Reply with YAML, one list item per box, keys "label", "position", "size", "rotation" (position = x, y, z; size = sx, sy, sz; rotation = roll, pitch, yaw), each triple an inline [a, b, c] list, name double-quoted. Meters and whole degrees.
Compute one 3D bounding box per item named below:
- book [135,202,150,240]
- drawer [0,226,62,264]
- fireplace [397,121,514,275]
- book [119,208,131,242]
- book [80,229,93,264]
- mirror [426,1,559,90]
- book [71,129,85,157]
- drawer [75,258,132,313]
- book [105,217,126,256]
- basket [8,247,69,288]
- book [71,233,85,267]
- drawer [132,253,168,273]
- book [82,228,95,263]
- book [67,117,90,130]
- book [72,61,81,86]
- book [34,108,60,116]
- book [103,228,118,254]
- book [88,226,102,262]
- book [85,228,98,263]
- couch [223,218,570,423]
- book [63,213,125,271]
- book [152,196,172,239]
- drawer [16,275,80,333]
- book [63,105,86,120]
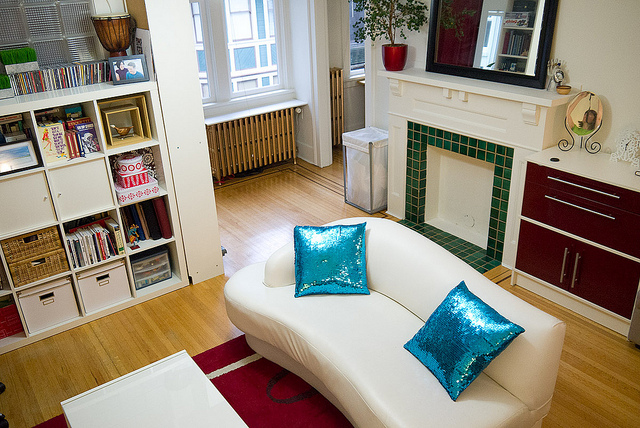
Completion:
- label: "book"
  position: [-1.737, 0.052, 4.208]
  size: [0.032, 0.301, 0.220]
  rotation: [-21, 57, -14]
- label: "drawer"
  position: [-2.514, 0.271, 3.744]
  size: [0.410, 0.239, 0.291]
  rotation: [-21, 31, -35]
- label: "fireplace"
  position: [1.489, -0.242, 4.808]
  size: [0.440, 1.312, 1.329]
  rotation: [-21, 31, -30]
- label: "book"
  position: [-1.873, 0.118, 4.170]
  size: [0.047, 0.360, 0.050]
  rotation: [-20, 6, -24]
- label: "book"
  position: [-2.112, 0.316, 3.948]
  size: [0.044, 0.196, 0.190]
  rotation: [-13, -3, -19]
- label: "mirror"
  position: [1.716, -1.642, 4.184]
  size: [1.046, 1.097, 0.074]
  rotation: [7, 27, 34]
- label: "book"
  position: [-2.131, -0.631, 3.788]
  size: [0.031, 0.211, 0.153]
  rotation: [-19, 47, -29]
- label: "drawer"
  position: [-2.192, 0.674, 4.242]
  size: [0.480, 0.413, 0.467]
  rotation: [-15, 19, -32]
- label: "book"
  position: [-1.909, 0.219, 4.066]
  size: [0.064, 0.275, 0.268]
  rotation: [-17, -1, -20]
- label: "basket"
  position: [-2.516, 0.417, 3.960]
  size: [0.488, 0.210, 0.357]
  rotation: [-17, 21, -5]
- label: "book"
  position: [-2.190, 0.333, 3.945]
  size: [0.051, 0.222, 0.217]
  rotation: [-11, 34, -17]
- label: "drawer"
  position: [-1.698, 0.488, 4.309]
  size: [0.208, 0.049, 0.190]
  rotation: [-19, 29, -35]
- label: "book"
  position: [-2.098, 0.312, 3.966]
  size: [0.046, 0.204, 0.193]
  rotation: [-15, 2, -19]
- label: "book"
  position: [-2.139, -0.815, 3.816]
  size: [0.116, 0.029, 0.116]
  rotation: [-23, 40, -32]
- label: "book"
  position: [-2.142, -1.237, 3.828]
  size: [0.046, 0.167, 0.122]
  rotation: [-14, 31, -24]
- label: "book"
  position: [-2.430, -0.901, 3.825]
  size: [0.113, 0.027, 0.104]
  rotation: [-18, 35, -32]
- label: "book"
  position: [-1.950, 0.249, 4.051]
  size: [0.030, 0.133, 0.127]
  rotation: [-22, 12, -2]
- label: "book"
  position: [-2.062, 0.290, 4.007]
  size: [0.050, 0.221, 0.210]
  rotation: [-15, 10, -17]
- label: "book"
  position: [-2.082, 0.307, 3.970]
  size: [0.050, 0.221, 0.210]
  rotation: [-15, 7, -17]
- label: "couch"
  position: [0.447, 0.888, 3.171]
  size: [1.286, 1.065, 2.115]
  rotation: [-22, 35, -34]
- label: "book"
  position: [-2.124, 0.258, 4.100]
  size: [0.367, 0.360, 0.229]
  rotation: [7, 20, 35]
- label: "book"
  position: [-1.531, 0.029, 4.215]
  size: [0.069, 0.306, 0.298]
  rotation: [-9, 18, -12]
- label: "drawer"
  position: [-2.472, 0.840, 3.997]
  size: [0.454, 0.453, 0.449]
  rotation: [-17, 36, -28]
- label: "book"
  position: [-2.210, -0.920, 3.892]
  size: [0.154, 0.037, 0.155]
  rotation: [24, 34, 37]
